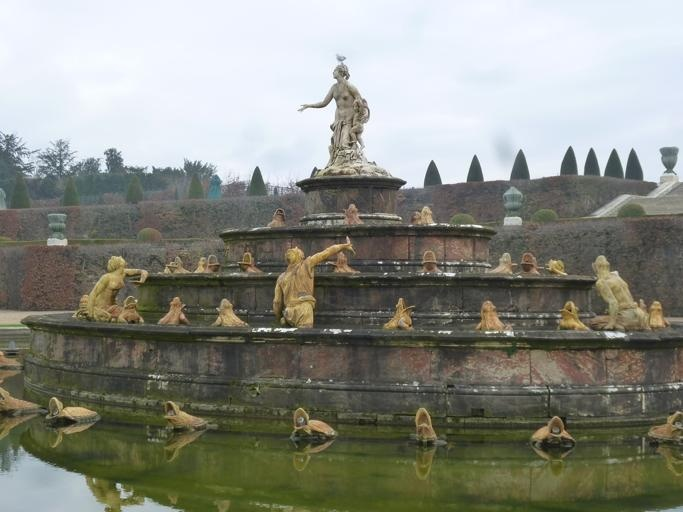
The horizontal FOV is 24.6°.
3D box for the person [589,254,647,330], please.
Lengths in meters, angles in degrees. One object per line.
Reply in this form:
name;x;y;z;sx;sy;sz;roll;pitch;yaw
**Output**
person;6.936;0.864;38.917;1.258;1.897;0.592;-1;-2;15
